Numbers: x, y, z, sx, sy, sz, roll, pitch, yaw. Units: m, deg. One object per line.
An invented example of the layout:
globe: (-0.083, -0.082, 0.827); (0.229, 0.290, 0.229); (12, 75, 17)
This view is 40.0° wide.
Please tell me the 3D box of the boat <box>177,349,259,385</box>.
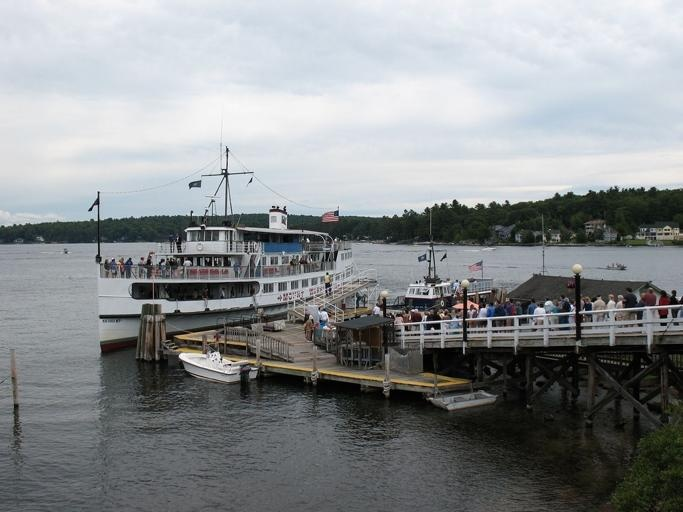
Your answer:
boat: (-7.469, 6.612, 56.016); (5.168, 1.424, 1.871); (8, 5, 37)

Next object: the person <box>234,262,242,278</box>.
person: (-7.367, 1.093, 66.856); (0.360, 0.953, 0.694); (-1, 1, 25)

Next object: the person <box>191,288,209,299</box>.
person: (-9.873, 2.652, 65.660); (1.117, 0.719, 1.336); (-2, 1, -9)

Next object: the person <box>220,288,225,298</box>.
person: (-8.375, 2.650, 66.667); (0.371, 0.651, 0.785); (-2, 1, -5)
